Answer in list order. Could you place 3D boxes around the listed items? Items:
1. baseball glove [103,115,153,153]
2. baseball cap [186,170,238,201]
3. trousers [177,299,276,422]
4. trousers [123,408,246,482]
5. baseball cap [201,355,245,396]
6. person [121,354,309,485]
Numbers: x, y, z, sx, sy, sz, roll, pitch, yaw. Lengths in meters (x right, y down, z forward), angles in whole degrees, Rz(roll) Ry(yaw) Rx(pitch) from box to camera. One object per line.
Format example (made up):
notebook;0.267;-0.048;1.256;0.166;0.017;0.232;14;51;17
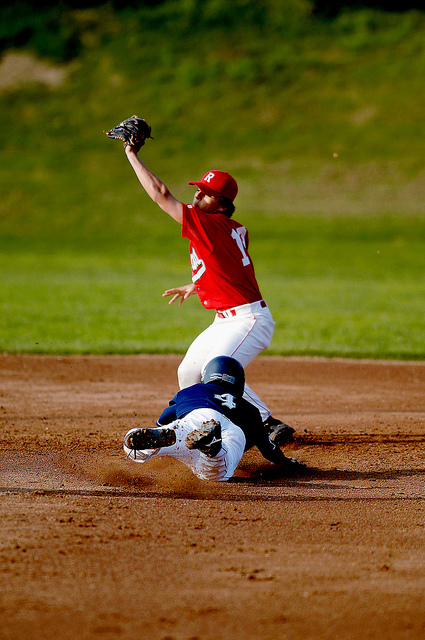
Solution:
baseball glove;-0.401;-0.909;4.396;0.253;0.086;0.194;-5;60;-3
baseball cap;0.018;-0.678;4.564;0.238;0.108;0.136;21;9;-24
trousers;0.106;0.215;4.580;0.489;0.625;0.472;-3;4;27
trousers;-0.119;0.493;4.054;0.431;0.180;0.661;13;3;7
baseball cap;0.051;0.266;4.290;0.200;0.178;0.247;-4;17;0
person;-0.047;0.454;4.162;0.813;0.384;1.043;7;4;11
